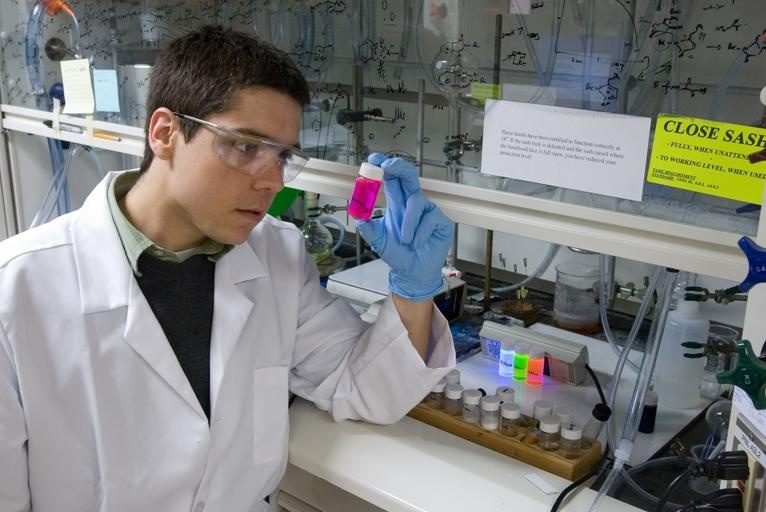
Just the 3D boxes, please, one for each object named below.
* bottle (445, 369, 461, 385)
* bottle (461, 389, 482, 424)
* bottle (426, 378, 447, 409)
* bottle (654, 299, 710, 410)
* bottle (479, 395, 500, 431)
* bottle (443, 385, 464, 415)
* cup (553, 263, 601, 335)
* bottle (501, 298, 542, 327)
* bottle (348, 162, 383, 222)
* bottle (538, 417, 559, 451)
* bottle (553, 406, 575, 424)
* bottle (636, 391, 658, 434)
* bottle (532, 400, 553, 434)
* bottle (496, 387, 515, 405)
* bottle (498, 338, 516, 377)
[{"bbox_3d":[0.240,0.417,2.047,0.044,0.045,0.045,-4,10,-16],"label":"bottle"},{"bbox_3d":[0.290,0.496,1.946,0.081,0.136,0.085,0,10,0],"label":"bottle"},{"bbox_3d":[0.183,0.481,2.075,0.087,0.092,0.078,0,15,3],"label":"bottle"},{"bbox_3d":[1.093,0.355,2.149,0.184,0.409,0.152,-11,22,-38],"label":"bottle"},{"bbox_3d":[0.351,0.520,1.935,0.077,0.093,0.078,0,1,43],"label":"bottle"},{"bbox_3d":[0.236,0.483,1.992,0.078,0.096,0.081,1,8,12],"label":"bottle"},{"bbox_3d":[0.858,0.193,2.745,0.218,0.296,0.280,0,-3,26],"label":"cup"},{"bbox_3d":[0.600,0.229,2.581,0.124,0.053,0.125,2,12,0],"label":"bottle"},{"bbox_3d":[-0.057,-0.215,1.918,0.088,0.169,0.089,15,11,-3],"label":"bottle"},{"bbox_3d":[0.517,0.555,1.840,0.089,0.093,0.063,-2,11,-11],"label":"bottle"},{"bbox_3d":[0.573,0.504,1.868,0.052,0.053,0.052,-3,14,-2],"label":"bottle"},{"bbox_3d":[0.920,0.554,2.079,0.068,0.114,0.071,7,1,0],"label":"bottle"},{"bbox_3d":[0.510,0.516,1.886,0.059,0.103,0.064,-1,28,1],"label":"bottle"},{"bbox_3d":[0.411,0.467,1.991,0.049,0.042,0.051,4,15,22],"label":"bottle"},{"bbox_3d":[0.469,0.378,2.248,0.059,0.153,0.059,-1,15,0],"label":"bottle"}]
